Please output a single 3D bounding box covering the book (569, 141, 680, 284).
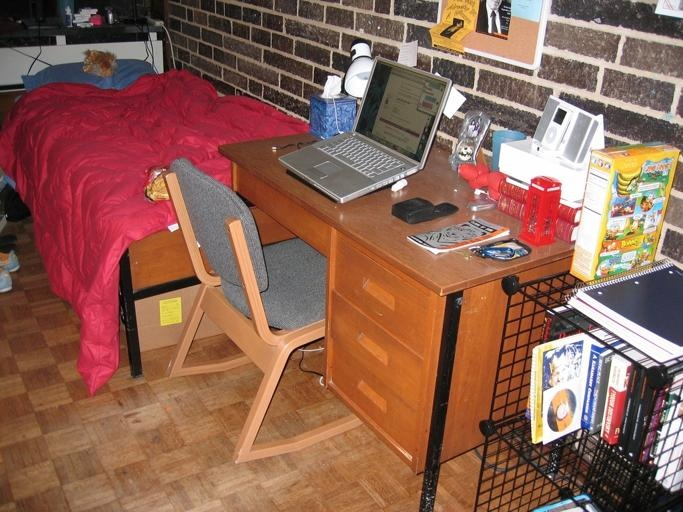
[{"bbox_3d":[0.752,-0.121,1.444,0.305,0.423,0.122,-16,30,-24],"label":"book"}]

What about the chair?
[{"bbox_3d":[-0.203,0.106,2.109,0.813,0.967,0.651,-18,33,-33],"label":"chair"}]

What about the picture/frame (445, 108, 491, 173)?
[{"bbox_3d":[0.465,-0.421,1.926,0.130,0.226,0.053,20,-7,39],"label":"picture/frame"}]

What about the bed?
[{"bbox_3d":[-1.140,-0.474,2.661,1.225,0.558,1.814,-22,45,-29],"label":"bed"}]
